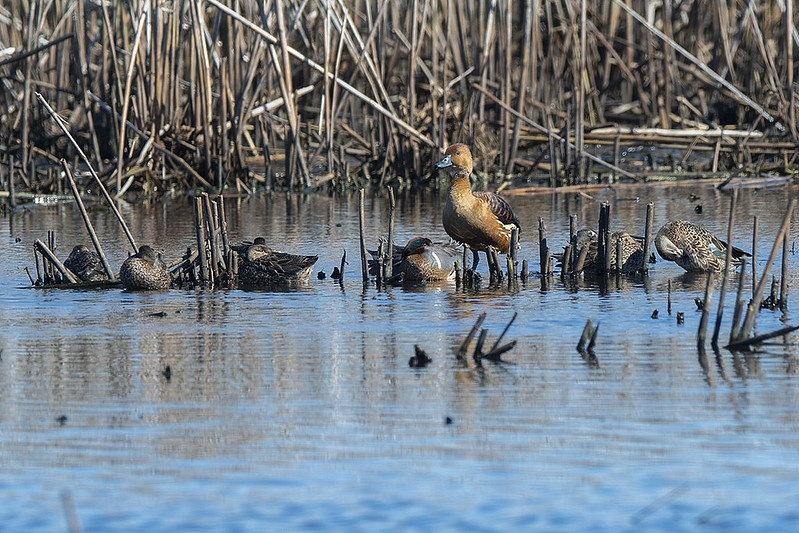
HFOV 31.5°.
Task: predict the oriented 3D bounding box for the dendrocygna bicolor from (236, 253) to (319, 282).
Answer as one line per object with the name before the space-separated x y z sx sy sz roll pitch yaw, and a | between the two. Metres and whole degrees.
dendrocygna bicolor | -1.540 0.020 17.753 0.833 0.498 0.412 -1 0 10

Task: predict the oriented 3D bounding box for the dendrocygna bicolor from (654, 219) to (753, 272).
dendrocygna bicolor | 3.843 -0.253 18.189 1.301 0.827 0.629 -4 7 5

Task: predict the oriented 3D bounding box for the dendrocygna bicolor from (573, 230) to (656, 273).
dendrocygna bicolor | 2.750 -0.202 18.344 0.823 0.554 0.581 1 -6 2

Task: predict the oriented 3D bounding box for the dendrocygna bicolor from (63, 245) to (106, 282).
dendrocygna bicolor | -3.950 -0.056 17.926 0.481 0.408 0.791 -1 2 -17

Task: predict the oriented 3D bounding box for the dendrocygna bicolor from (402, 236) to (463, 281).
dendrocygna bicolor | 0.389 -0.107 18.142 0.873 0.561 0.713 -1 2 2
